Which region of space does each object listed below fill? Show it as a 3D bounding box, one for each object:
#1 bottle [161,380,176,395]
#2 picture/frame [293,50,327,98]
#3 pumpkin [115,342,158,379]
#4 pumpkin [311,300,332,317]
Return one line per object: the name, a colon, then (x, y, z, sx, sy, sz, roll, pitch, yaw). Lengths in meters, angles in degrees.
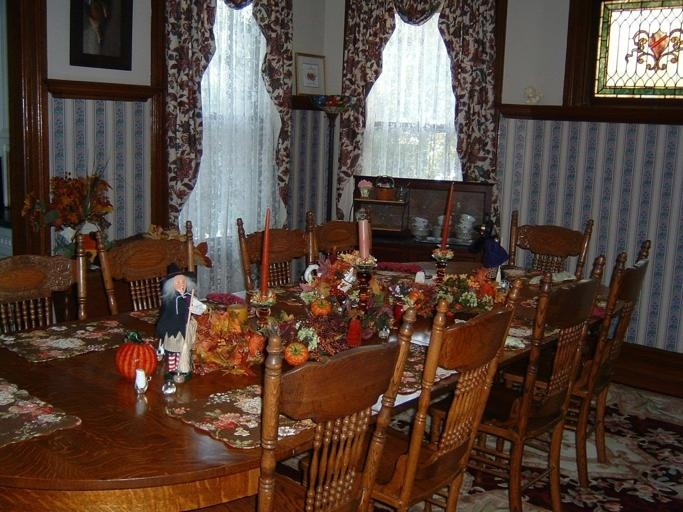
bottle: (-0.525, 0.401, 1.640, 0.039, 0.037, 0.040, 6, 12, 15)
picture/frame: (-0.291, -1.748, 5.157, 0.019, 0.377, 0.393, 9, 17, 41)
pumpkin: (-0.674, 0.329, 1.755, 0.136, 0.138, 0.141, 9, -2, -20)
pumpkin: (-0.075, 0.196, 2.009, 0.061, 0.062, 0.060, 15, 27, 20)
